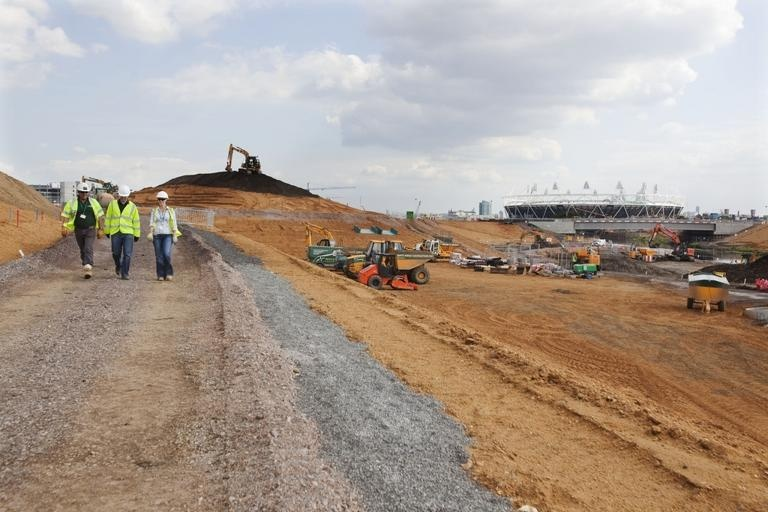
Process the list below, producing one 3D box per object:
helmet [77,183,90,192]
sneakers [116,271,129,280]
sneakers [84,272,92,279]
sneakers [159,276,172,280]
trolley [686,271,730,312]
[{"bbox_3d":[-7.432,-1.742,11.249,0.287,0.166,0.406,15,2,-40],"label":"helmet"},{"bbox_3d":[-6.707,0.717,11.659,0.668,0.225,0.199,0,3,38],"label":"sneakers"},{"bbox_3d":[-7.314,0.672,11.187,0.149,0.129,0.382,0,-11,-27],"label":"sneakers"},{"bbox_3d":[-5.678,0.770,11.781,0.255,0.076,0.158,2,-3,-5],"label":"sneakers"},{"bbox_3d":[15.657,2.200,21.936,2.044,1.964,1.637,1,11,-40],"label":"trolley"}]
